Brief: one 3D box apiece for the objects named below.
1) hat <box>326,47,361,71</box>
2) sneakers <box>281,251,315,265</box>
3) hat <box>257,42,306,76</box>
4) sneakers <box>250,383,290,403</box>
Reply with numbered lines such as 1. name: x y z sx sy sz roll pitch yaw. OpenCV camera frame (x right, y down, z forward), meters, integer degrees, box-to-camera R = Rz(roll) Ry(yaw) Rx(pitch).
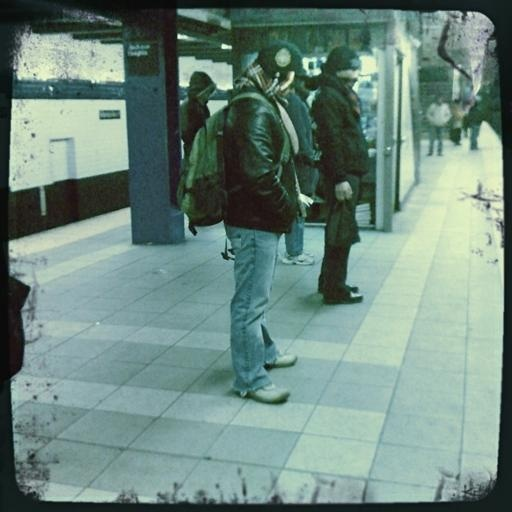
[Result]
1. hat: 0.497 -1.113 3.549 0.157 0.131 0.291 3 11 32
2. sneakers: 0.387 0.011 5.622 0.249 0.142 0.125 1 8 -4
3. hat: 0.134 -0.843 2.671 0.249 0.149 0.196 3 26 11
4. sneakers: 0.059 0.614 2.833 0.133 0.067 0.078 -2 -6 15
